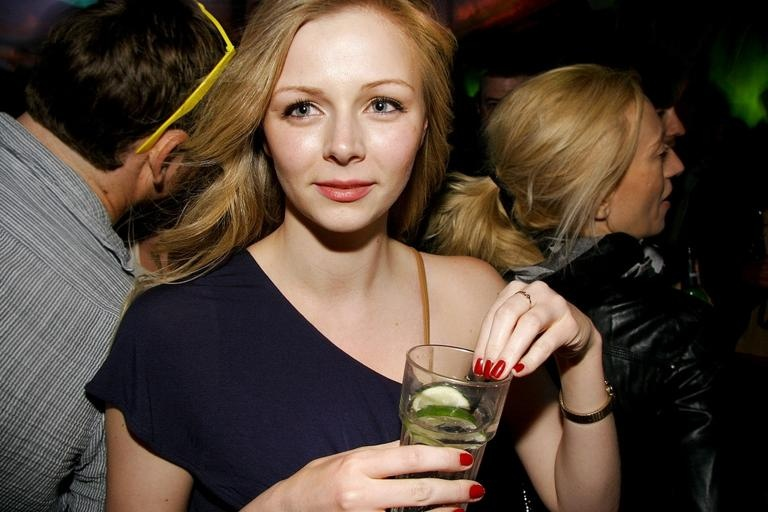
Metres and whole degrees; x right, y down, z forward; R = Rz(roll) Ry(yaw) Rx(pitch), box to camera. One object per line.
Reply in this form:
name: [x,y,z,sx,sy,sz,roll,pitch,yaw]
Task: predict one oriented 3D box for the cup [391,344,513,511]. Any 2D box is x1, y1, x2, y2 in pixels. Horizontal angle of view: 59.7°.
cup: [0.244,0.619,2.413,0.368,0.543,0.378,1,30,-1]
